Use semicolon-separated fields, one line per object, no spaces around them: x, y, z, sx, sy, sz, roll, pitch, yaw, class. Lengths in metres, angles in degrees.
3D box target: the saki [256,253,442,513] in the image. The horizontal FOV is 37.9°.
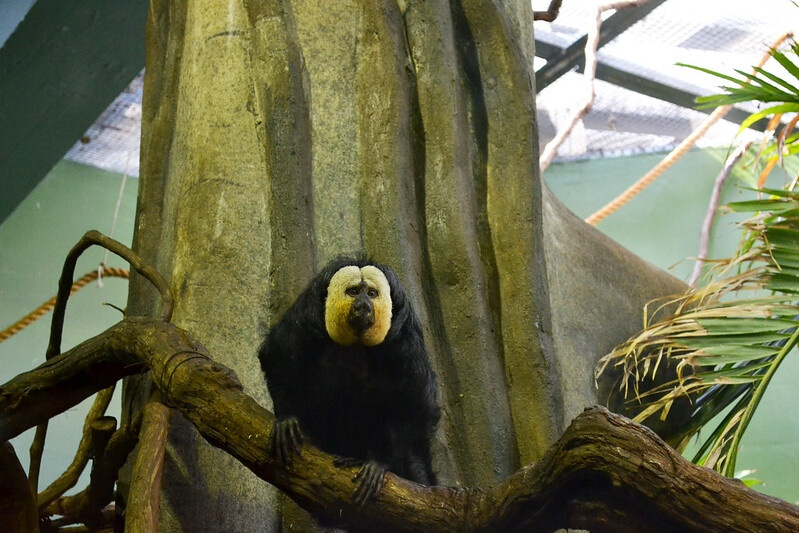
-0.224;0.660;6.523;1.234;1.040;1.624;5;62;-3;saki
